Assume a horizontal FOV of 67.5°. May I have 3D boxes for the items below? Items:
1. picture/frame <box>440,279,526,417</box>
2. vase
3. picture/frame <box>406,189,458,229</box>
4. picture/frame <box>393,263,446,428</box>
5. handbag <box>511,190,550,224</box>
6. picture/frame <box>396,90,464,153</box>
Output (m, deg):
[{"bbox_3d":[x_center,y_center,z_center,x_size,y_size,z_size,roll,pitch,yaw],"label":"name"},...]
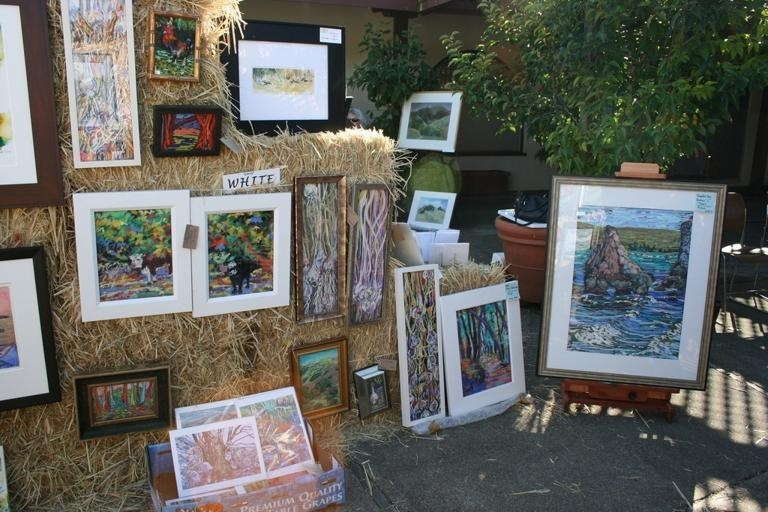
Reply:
[{"bbox_3d":[0.657,0.647,3.956,0.879,1.004,0.083,-6,2,-36],"label":"picture/frame"},{"bbox_3d":[1.425,-0.020,5.683,0.672,0.694,0.661,-14,20,-43],"label":"vase"},{"bbox_3d":[0.468,-0.501,5.892,0.601,0.508,0.052,10,-11,19],"label":"picture/frame"},{"bbox_3d":[0.247,0.583,3.787,0.322,1.000,0.325,-2,15,-13],"label":"picture/frame"},{"bbox_3d":[1.411,-0.466,5.652,0.491,0.231,0.646,0,15,5],"label":"handbag"},{"bbox_3d":[0.411,-1.242,5.248,0.656,0.549,0.028,11,8,34],"label":"picture/frame"}]
